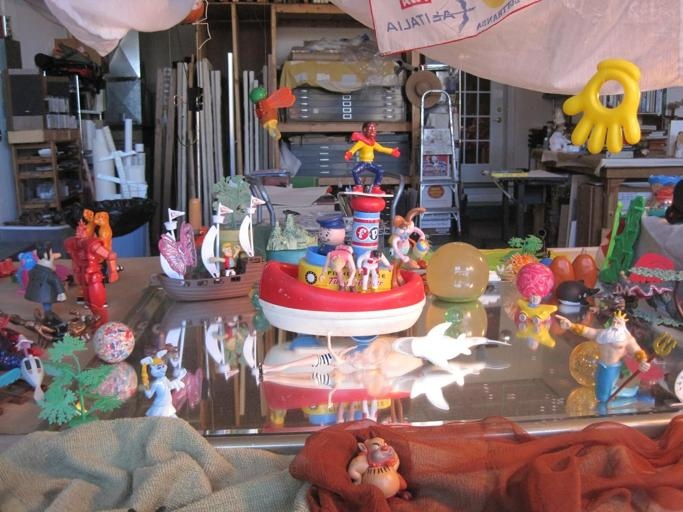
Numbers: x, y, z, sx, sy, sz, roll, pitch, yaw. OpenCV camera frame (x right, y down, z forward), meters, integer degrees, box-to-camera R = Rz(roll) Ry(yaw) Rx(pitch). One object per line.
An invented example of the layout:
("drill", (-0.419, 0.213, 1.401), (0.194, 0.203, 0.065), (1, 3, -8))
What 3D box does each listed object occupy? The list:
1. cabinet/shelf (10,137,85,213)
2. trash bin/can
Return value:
("cabinet/shelf", (-2.136, -0.590, 4.209), (0.237, 0.656, 0.688), (-2, 12, -2))
("trash bin/can", (-0.895, -0.137, 2.387), (0.297, 0.233, 0.294), (-1, 3, -5))
